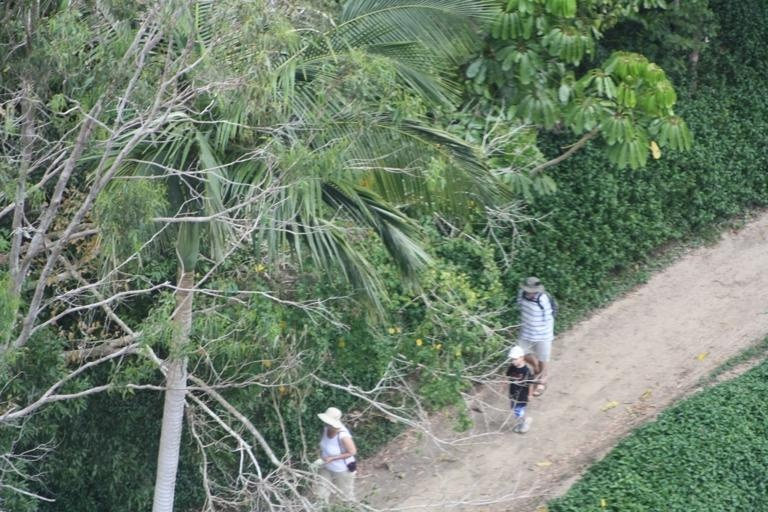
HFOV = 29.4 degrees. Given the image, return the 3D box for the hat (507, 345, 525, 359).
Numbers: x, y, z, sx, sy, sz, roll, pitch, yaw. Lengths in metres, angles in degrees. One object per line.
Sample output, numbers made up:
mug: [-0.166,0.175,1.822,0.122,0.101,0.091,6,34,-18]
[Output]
hat: [2.327,1.679,25.381,0.200,0.143,0.273,1,1,32]

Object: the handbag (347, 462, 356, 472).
handbag: [-0.519,3.503,24.299,0.152,0.182,0.104,1,16,-9]

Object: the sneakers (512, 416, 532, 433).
sneakers: [2.482,3.014,25.977,0.209,0.132,0.336,-4,41,31]

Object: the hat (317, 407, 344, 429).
hat: [-0.833,2.680,24.234,0.376,0.179,0.365,29,-2,5]

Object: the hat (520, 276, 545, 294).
hat: [2.655,0.549,25.901,0.304,0.338,0.365,22,32,-9]
